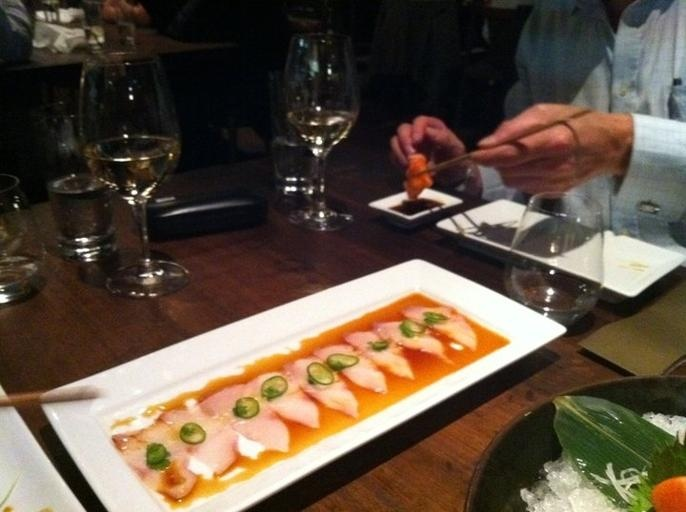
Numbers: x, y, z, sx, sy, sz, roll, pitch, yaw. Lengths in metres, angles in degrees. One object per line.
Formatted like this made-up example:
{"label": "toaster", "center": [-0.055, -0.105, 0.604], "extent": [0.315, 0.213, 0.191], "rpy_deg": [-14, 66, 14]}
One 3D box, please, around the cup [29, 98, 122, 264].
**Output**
{"label": "cup", "center": [-0.410, -0.113, 0.913], "extent": [0.117, 0.298, 0.142], "rpy_deg": [-19, 30, -35]}

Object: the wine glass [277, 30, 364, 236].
{"label": "wine glass", "center": [-0.041, -0.239, 1.032], "extent": [0.177, 0.364, 0.166], "rpy_deg": [1, 24, -4]}

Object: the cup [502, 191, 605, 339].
{"label": "cup", "center": [0.297, 0.013, 0.770], "extent": [0.119, 0.195, 0.122], "rpy_deg": [3, 21, -1]}
